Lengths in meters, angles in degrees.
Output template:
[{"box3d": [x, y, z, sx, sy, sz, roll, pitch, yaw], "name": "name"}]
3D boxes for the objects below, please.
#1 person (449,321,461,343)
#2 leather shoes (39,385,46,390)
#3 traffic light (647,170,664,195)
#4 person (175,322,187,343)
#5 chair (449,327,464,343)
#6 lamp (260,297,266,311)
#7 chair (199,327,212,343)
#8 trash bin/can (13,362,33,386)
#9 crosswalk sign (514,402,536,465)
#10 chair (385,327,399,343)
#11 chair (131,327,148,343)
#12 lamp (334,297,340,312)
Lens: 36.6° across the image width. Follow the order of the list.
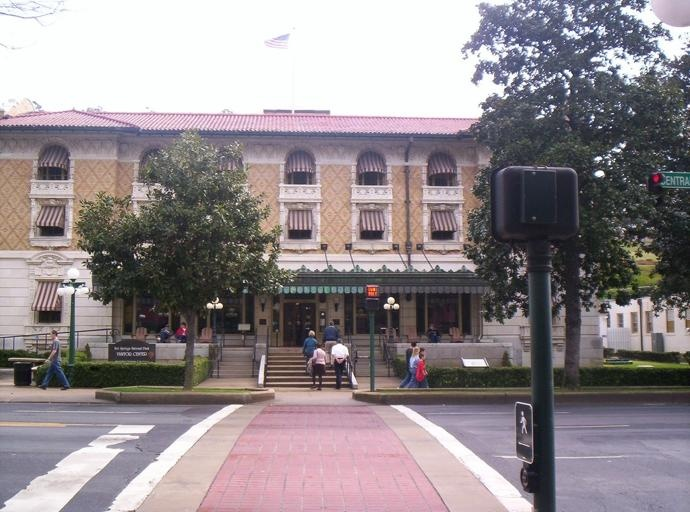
[{"box3d": [5.581, 4.054, 53.268, 0.517, 0.796, 0.789, 1, -8, 2], "name": "person"}, {"box3d": [-12.459, 5.383, 42.801, 0.119, 0.200, 0.350, 5, 0, -39], "name": "leather shoes"}, {"box3d": [8.891, -2.125, 29.924, 0.387, 0.500, 0.924, -3, -7, 17], "name": "traffic light"}, {"box3d": [-8.233, 3.881, 52.014, 0.479, 1.019, 2.546, 0, -7, -11], "name": "person"}, {"box3d": [5.633, 4.070, 53.230, 0.550, 0.715, 0.761, 0, -10, 1], "name": "chair"}, {"box3d": [-4.303, 2.588, 54.083, 0.284, 0.613, 0.200, -1, -6, -4], "name": "lamp"}, {"box3d": [-7.084, 4.059, 52.909, 0.627, 0.861, 0.713, 1, -11, -5], "name": "chair"}, {"box3d": [-13.654, 4.999, 44.148, 0.691, 1.036, 0.787, 1, -7, -18], "name": "trash bin/can"}, {"box3d": [4.157, 4.088, 24.177, 0.398, 1.388, 0.354, -2, -6, 5], "name": "crosswalk sign"}, {"box3d": [2.403, 4.123, 53.796, 0.655, 0.929, 0.705, 1, -17, -4], "name": "chair"}, {"box3d": [-10.364, 3.916, 52.624, 0.711, 0.759, 2.349, 0, -8, -11], "name": "chair"}, {"box3d": [-0.461, 2.550, 54.843, 0.294, 0.772, 0.171, -1, -6, -6], "name": "lamp"}]
